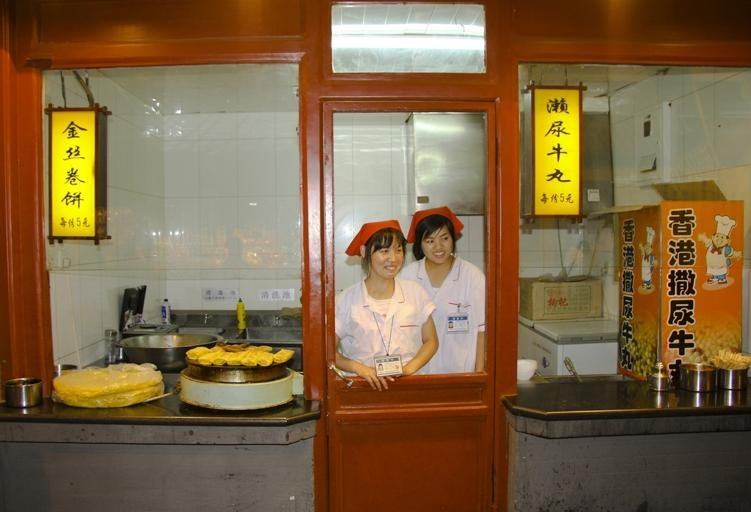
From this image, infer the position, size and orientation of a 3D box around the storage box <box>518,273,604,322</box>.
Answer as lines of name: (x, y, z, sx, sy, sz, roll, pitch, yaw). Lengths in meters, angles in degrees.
storage box: (1.149, 0.268, 4.341, 0.469, 0.229, 0.244, -2, 3, -12)

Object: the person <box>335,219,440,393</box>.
person: (0.054, 0.282, 3.911, 0.665, 0.921, 0.490, 2, 2, -5)

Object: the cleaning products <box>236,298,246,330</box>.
cleaning products: (-1.046, 0.461, 5.443, 0.071, 0.225, 0.095, -2, 1, -10)

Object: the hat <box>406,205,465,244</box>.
hat: (0.337, -0.191, 3.881, 0.313, 0.205, 0.292, 6, 6, 18)

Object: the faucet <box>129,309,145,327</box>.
faucet: (-1.761, 0.469, 5.108, 0.097, 0.093, 0.174, 4, 7, -15)

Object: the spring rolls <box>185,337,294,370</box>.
spring rolls: (-0.748, 0.558, 3.828, 0.573, 0.119, 0.271, -2, 1, -13)

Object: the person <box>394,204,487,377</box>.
person: (0.377, 0.182, 4.031, 0.489, 0.921, 0.416, 3, 7, 0)

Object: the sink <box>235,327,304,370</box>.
sink: (-0.763, 0.653, 5.351, 0.684, 0.323, 0.562, 3, 4, -9)
